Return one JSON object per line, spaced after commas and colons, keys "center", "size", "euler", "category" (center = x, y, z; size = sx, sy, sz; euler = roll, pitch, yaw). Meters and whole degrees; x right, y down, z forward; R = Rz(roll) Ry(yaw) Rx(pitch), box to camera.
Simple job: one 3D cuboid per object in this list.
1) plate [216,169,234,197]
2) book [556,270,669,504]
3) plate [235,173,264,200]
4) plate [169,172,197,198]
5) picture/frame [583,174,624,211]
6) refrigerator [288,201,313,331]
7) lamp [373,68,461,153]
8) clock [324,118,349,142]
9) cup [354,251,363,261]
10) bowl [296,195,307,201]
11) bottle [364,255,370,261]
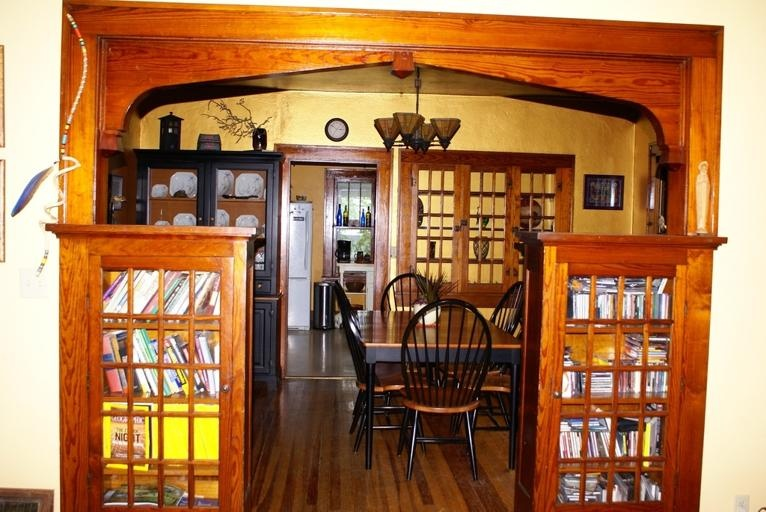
{"center": [-1.511, -0.704, 7.337], "size": [0.184, 0.235, 0.070], "euler": [-2, 11, -10], "category": "plate"}
{"center": [1.435, 0.822, 4.671], "size": [0.699, 1.402, 0.298], "euler": [1, 9, 5], "category": "book"}
{"center": [-1.294, -0.683, 7.349], "size": [0.251, 0.257, 0.067], "euler": [2, 0, -3], "category": "plate"}
{"center": [-1.920, -0.696, 7.459], "size": [0.259, 0.250, 0.061], "euler": [0, 8, -1], "category": "plate"}
{"center": [2.349, -0.697, 8.147], "size": [0.380, 0.334, 0.038], "euler": [1, 2, -4], "category": "picture/frame"}
{"center": [-1.093, 0.134, 10.048], "size": [0.326, 1.701, 0.380], "euler": [-2, 9, -7], "category": "refrigerator"}
{"center": [0.271, -1.319, 6.820], "size": [0.691, 0.749, 1.319], "euler": [-1, 10, -3], "category": "lamp"}
{"center": [-0.466, -1.285, 7.791], "size": [0.246, 0.250, 0.046], "euler": [-1, 9, -4], "category": "clock"}
{"center": [-0.327, 0.017, 10.823], "size": [0.146, 0.154, 0.088], "euler": [-1, 3, -7], "category": "cup"}
{"center": [-1.088, -0.781, 10.311], "size": [0.121, 0.055, 0.120], "euler": [2, -1, 0], "category": "bowl"}
{"center": [-0.222, 0.028, 10.918], "size": [0.074, 0.103, 0.075], "euler": [1, 10, 0], "category": "bottle"}
